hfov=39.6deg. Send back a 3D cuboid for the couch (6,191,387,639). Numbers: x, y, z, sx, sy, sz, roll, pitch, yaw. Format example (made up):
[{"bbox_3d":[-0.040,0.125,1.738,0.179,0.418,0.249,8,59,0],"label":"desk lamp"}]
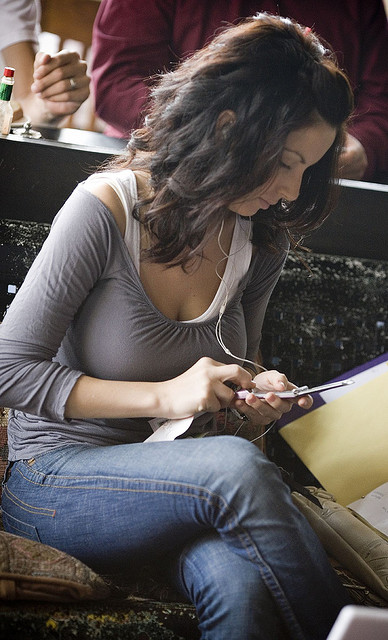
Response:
[{"bbox_3d":[-0.008,0.150,0.872,0.724,0.484,0.386,3,30,-31],"label":"couch"}]

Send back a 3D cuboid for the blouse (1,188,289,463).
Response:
[{"bbox_3d":[-0.079,0.003,0.875,0.463,0.423,0.250,19,7,-46],"label":"blouse"}]

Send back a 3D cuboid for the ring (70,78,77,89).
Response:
[{"bbox_3d":[-0.287,-0.563,1.284,0.006,0.020,0.021,-2,26,16],"label":"ring"}]
